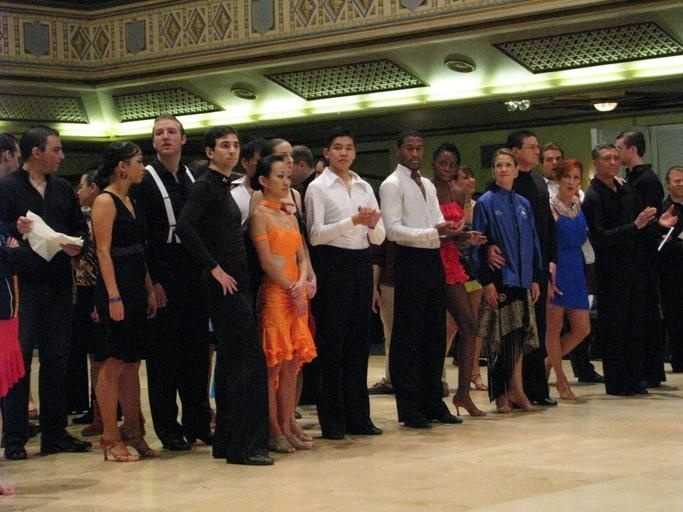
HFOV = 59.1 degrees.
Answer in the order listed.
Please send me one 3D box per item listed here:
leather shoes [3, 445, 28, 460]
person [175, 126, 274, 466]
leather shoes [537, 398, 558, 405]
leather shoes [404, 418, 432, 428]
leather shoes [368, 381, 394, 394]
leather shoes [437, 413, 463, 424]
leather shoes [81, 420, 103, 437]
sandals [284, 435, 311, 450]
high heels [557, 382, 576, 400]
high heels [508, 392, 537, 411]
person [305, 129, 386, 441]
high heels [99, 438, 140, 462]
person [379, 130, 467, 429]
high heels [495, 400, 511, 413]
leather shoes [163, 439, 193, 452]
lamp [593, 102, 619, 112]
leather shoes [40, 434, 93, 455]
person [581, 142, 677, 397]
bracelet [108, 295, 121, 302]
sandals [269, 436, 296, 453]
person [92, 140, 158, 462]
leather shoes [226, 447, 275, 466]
[{"bbox_3d":[-2.109,1.270,3.907,0.047,0.080,0.136,-7,-3,34],"label":"leather shoes"},{"bbox_3d":[-0.689,0.190,3.688,0.479,1.801,0.404,-5,-1,10],"label":"person"},{"bbox_3d":[1.798,1.274,5.274,0.180,0.070,0.066,-6,-6,18],"label":"leather shoes"},{"bbox_3d":[0.575,1.244,4.535,0.199,0.079,0.074,-4,-8,18],"label":"leather shoes"},{"bbox_3d":[0.408,1.371,6.314,0.337,0.141,0.132,4,-13,-3],"label":"leather shoes"},{"bbox_3d":[0.827,1.244,4.642,0.151,0.059,0.081,-11,-9,32],"label":"leather shoes"},{"bbox_3d":[-1.960,1.362,4.770,0.170,0.111,0.099,3,-8,-9],"label":"leather shoes"},{"bbox_3d":[-0.283,1.200,3.920,0.179,0.079,0.068,5,1,22],"label":"sandals"},{"bbox_3d":[2.097,1.245,5.632,0.151,0.168,0.308,-5,-1,18],"label":"high heels"},{"bbox_3d":[1.511,1.245,5.153,0.296,0.200,0.107,-5,-4,19],"label":"high heels"},{"bbox_3d":[0.051,0.179,4.281,0.573,2.057,0.568,-5,-1,-14],"label":"person"},{"bbox_3d":[-1.378,1.202,3.784,0.365,0.155,0.126,-9,-12,34],"label":"high heels"},{"bbox_3d":[0.593,0.161,4.614,0.565,2.188,0.478,-5,-1,-12],"label":"person"},{"bbox_3d":[1.352,1.226,5.034,0.131,0.141,0.189,-5,-1,13],"label":"high heels"},{"bbox_3d":[-1.081,1.242,3.997,0.171,0.067,0.077,-1,-3,6],"label":"leather shoes"},{"bbox_3d":[4.258,-2.411,9.720,0.244,0.081,0.245,-1,-3,9],"label":"lamp"},{"bbox_3d":[-1.882,1.280,4.097,0.355,0.145,0.126,0,-7,-8],"label":"leather shoes"},{"bbox_3d":[2.676,0.120,5.871,0.506,2.568,0.465,-6,-1,25],"label":"person"},{"bbox_3d":[-1.389,0.263,3.716,0.078,0.031,0.053,-4,-2,-35],"label":"bracelet"},{"bbox_3d":[-0.385,1.194,3.821,0.201,0.089,0.066,-6,-5,30],"label":"sandals"},{"bbox_3d":[-1.388,0.271,3.855,0.415,1.696,0.358,-5,-1,-30],"label":"person"},{"bbox_3d":[-0.525,1.162,3.532,0.271,0.106,0.101,-3,-11,5],"label":"leather shoes"}]
